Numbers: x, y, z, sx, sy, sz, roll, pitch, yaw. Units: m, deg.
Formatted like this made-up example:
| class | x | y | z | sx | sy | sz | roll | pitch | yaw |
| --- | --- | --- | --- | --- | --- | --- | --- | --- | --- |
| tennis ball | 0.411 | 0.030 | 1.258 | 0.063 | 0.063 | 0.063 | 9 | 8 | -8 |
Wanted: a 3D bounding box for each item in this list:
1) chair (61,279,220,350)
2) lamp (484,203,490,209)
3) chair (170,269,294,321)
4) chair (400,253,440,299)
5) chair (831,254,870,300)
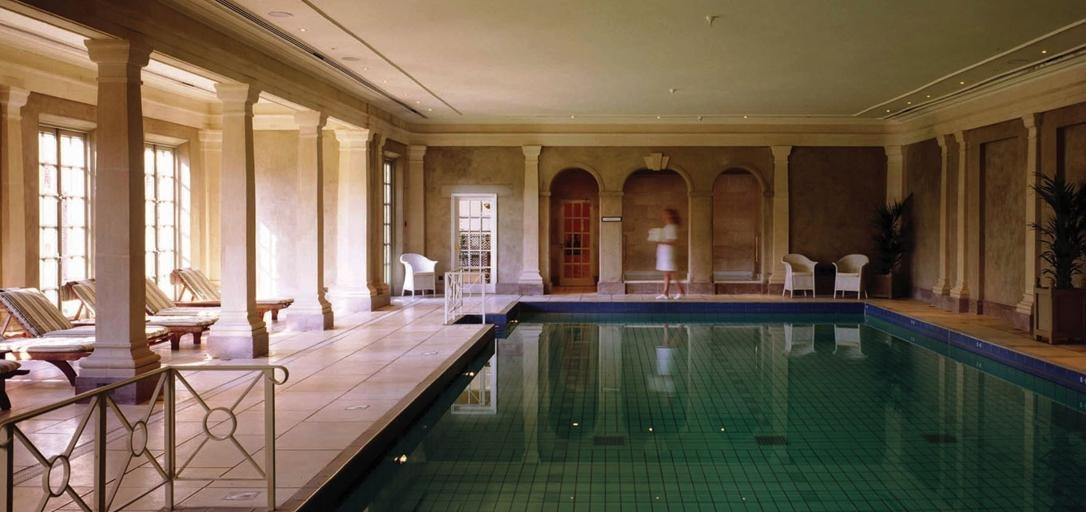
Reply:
| class | x | y | z | sx | sy | sz | roll | pitch | yaw |
| --- | --- | --- | --- | --- | --- | --- | --- | --- | --- |
| chair | -7.974 | 1.182 | 13.286 | 2.780 | 1.190 | 1.479 | 1 | 4 | 1 |
| lamp | -1.666 | -1.482 | 19.404 | 0.185 | 0.141 | 0.039 | -5 | 8 | 10 |
| chair | -7.271 | 0.895 | 15.235 | 2.811 | 0.867 | 1.285 | 1 | 2 | -1 |
| chair | -3.513 | 0.574 | 18.371 | 0.891 | 1.281 | 1.290 | -2 | 12 | -13 |
| chair | 8.556 | 0.557 | 18.307 | 0.872 | 1.172 | 0.918 | 6 | 13 | 22 |
